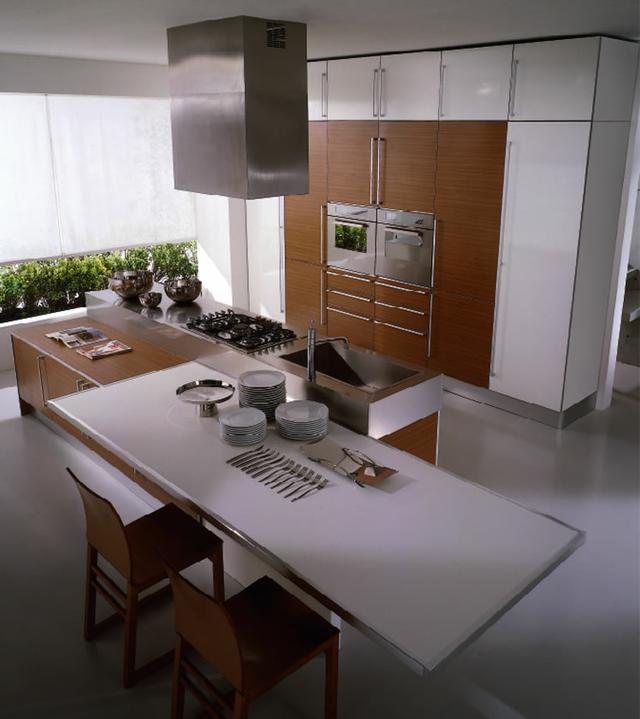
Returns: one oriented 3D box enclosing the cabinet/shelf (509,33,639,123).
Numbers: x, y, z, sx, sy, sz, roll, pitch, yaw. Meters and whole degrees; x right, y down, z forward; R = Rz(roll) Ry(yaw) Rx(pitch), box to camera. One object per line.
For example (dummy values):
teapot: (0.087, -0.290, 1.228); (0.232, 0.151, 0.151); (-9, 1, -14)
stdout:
cabinet/shelf: (1.705, -1.712, 3.880); (0.668, 0.485, 0.658); (-12, 23, -34)

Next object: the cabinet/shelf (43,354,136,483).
cabinet/shelf: (-1.253, 0.311, 3.187); (0.220, 0.355, 0.692); (-23, 35, -37)

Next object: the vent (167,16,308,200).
vent: (-0.400, -1.303, 2.975); (0.431, 0.829, 0.733); (-21, 30, -41)

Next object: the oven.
oven: (0.583, -1.037, 5.181); (1.156, 0.551, 0.383); (19, 26, 40)

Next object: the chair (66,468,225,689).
chair: (-0.637, 0.826, 2.125); (0.528, 0.824, 0.422); (-23, 38, -35)

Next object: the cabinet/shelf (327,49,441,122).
cabinet/shelf: (0.521, -2.186, 4.850); (1.034, 0.471, 0.332); (5, 21, 17)

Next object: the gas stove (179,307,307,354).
gas stove: (-0.455, -0.180, 3.394); (0.440, 0.071, 0.775); (-14, 22, -39)

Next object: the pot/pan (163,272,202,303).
pot/pan: (-0.944, -0.466, 3.997); (0.239, 0.178, 0.236); (-2, 17, -7)

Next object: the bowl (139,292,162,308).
bowl: (-1.155, -0.409, 3.976); (0.122, 0.076, 0.108); (-15, 25, -38)

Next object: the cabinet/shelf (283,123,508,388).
cabinet/shelf: (0.656, -0.846, 4.507); (0.615, 1.759, 1.929); (-20, 31, -41)

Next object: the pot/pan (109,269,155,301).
pot/pan: (-1.308, -0.520, 4.164); (0.255, 0.209, 0.417); (-15, 22, -39)

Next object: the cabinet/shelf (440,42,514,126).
cabinet/shelf: (1.121, -1.950, 4.220); (0.538, 0.458, 0.286); (13, 28, 32)

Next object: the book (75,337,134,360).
book: (-1.453, -0.069, 3.889); (0.298, 0.047, 0.409); (-12, 21, -35)
